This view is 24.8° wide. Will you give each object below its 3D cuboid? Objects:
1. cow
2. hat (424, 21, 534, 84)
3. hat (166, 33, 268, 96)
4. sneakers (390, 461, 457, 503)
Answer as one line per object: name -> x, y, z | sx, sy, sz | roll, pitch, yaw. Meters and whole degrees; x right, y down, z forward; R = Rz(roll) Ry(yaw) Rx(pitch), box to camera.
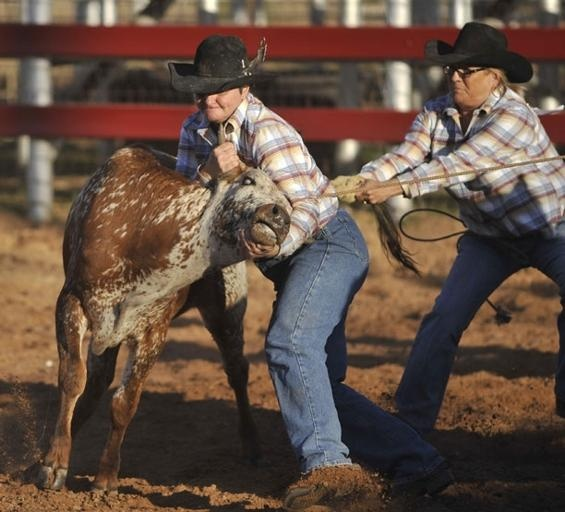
cow -> -1.050, 0.420, 7.380 | 0.993, 1.973, 3.300 | 20, -17, -31
hat -> 1.136, -1.274, 7.455 | 0.559, 0.205, 0.566 | -2, 17, -19
hat -> -0.327, -1.093, 7.002 | 0.515, 0.222, 0.601 | 15, 28, 31
sneakers -> 0.768, 1.248, 6.994 | 0.254, 0.086, 0.223 | -11, -6, 1
